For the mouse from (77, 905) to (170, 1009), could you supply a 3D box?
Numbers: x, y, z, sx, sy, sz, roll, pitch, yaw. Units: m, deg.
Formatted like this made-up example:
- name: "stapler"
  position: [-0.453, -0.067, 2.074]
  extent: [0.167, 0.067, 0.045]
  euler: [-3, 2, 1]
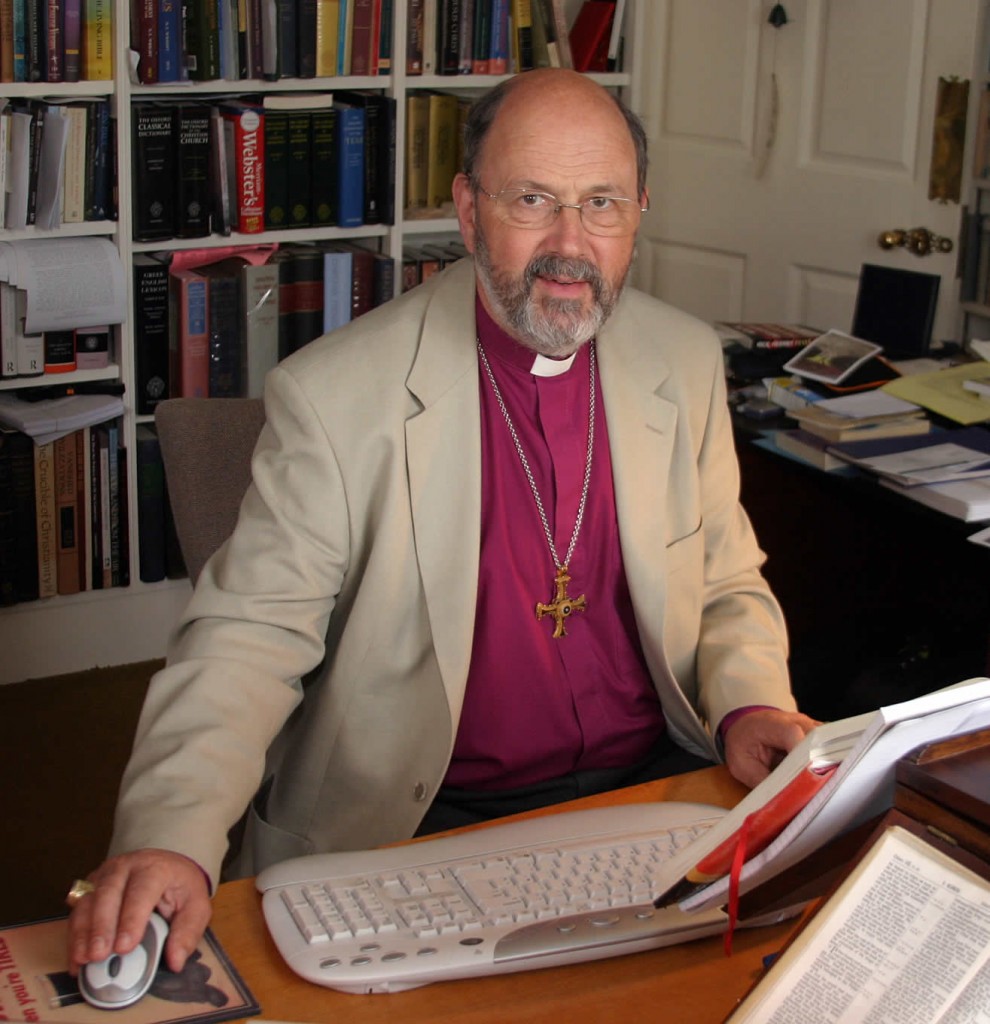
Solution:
- name: "mouse"
  position: [-0.261, 0.330, 0.660]
  extent: [0.043, 0.038, 0.067]
  euler: [10, 13, 40]

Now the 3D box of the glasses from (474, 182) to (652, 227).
- name: "glasses"
  position: [0.088, -0.399, 1.209]
  extent: [0.236, 0.061, 0.113]
  euler: [1, 10, -2]
